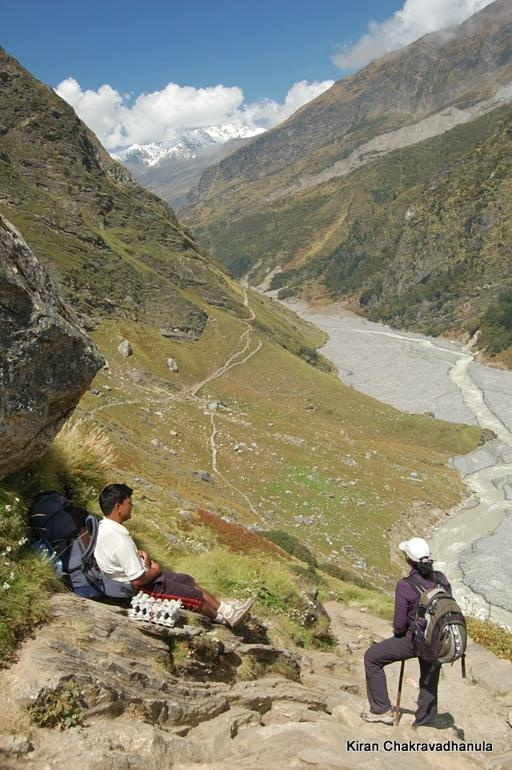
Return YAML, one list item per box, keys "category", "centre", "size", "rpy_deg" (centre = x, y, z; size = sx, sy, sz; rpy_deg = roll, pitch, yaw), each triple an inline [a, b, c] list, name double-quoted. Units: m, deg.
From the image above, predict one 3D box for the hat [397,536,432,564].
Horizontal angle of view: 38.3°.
- category: "hat"
  centre: [2.476, 2.496, 11.524]
  size: [0.518, 0.326, 0.651]
  rpy_deg: [1, 18, -4]

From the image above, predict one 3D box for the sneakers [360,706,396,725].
- category: "sneakers"
  centre: [1.821, 4.949, 11.057]
  size: [0.485, 0.200, 0.198]
  rpy_deg: [3, -4, 18]
